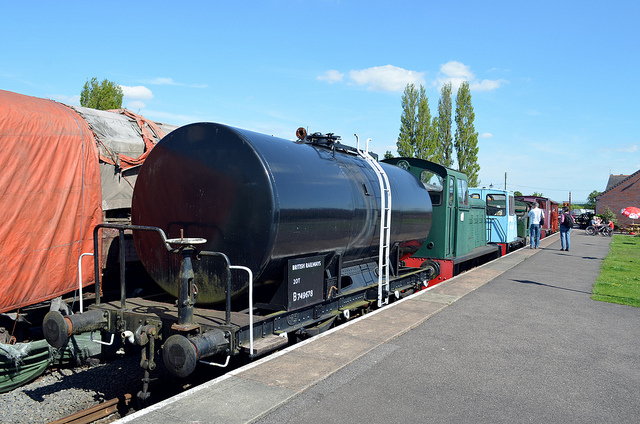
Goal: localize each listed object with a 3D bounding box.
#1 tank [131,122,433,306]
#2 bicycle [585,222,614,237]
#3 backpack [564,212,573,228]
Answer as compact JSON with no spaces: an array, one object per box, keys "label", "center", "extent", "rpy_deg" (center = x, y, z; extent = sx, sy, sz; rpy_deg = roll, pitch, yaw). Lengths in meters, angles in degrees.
[{"label":"tank","center":[-1.036,0.015,8.194],"extent":[4.414,3.171,2.085],"rpy_deg":[-3,10,-27]},{"label":"bicycle","center":[24.067,1.495,38.321],"extent":[2.209,1.383,1.133],"rpy_deg":[-3,0,25]},{"label":"backpack","center":[11.958,0.390,21.367],"extent":[0.355,0.718,0.767],"rpy_deg":[8,11,33]}]
